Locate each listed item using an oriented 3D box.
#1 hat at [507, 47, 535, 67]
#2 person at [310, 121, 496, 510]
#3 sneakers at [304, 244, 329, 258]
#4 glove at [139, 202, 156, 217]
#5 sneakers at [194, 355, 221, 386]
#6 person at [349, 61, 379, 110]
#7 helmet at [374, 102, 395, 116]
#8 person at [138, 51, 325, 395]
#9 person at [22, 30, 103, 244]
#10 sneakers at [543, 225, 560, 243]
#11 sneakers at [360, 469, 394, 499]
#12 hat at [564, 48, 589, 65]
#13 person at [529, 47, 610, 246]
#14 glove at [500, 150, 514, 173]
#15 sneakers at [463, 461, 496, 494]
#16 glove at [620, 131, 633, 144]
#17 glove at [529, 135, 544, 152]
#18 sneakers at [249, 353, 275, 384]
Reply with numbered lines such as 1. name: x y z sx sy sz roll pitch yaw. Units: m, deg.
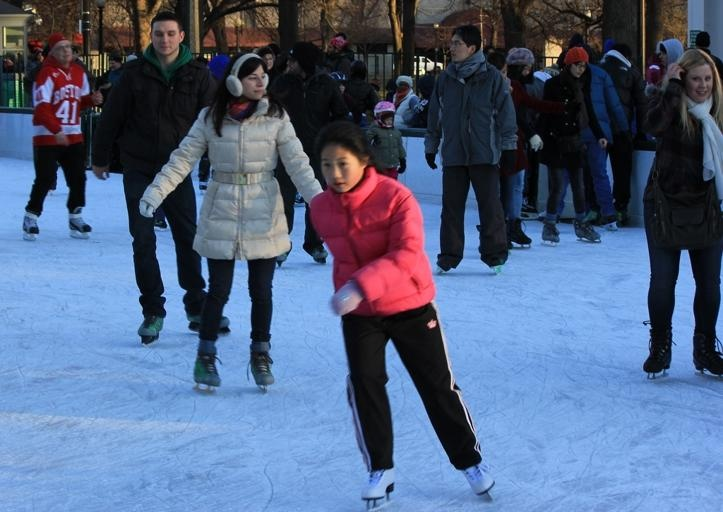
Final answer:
1. hat: 2.128 -2.678 9.751 0.470 0.278 0.319 4 18 12
2. person: 0.166 0.247 3.217 0.706 1.672 0.561 -3 12 -14
3. sneakers: -0.506 -0.052 7.981 0.217 0.092 0.125 1 -1 21
4. glove: -1.340 -0.284 4.453 0.080 0.107 0.046 4 -3 -19
5. sneakers: -0.961 0.703 4.420 0.152 0.171 0.126 -3 12 -12
6. person: -0.003 -2.760 11.717 0.437 0.822 0.689 4 13 21
7. helmet: 0.334 -2.139 10.426 0.209 0.223 0.266 -7 16 -31
8. person: -0.783 -0.225 4.451 1.000 2.002 0.549 -3 13 -14
9. person: -3.849 -1.512 9.106 1.068 2.578 0.786 -7 14 -27
10. sneakers: 2.392 -0.295 9.044 0.204 0.277 0.247 3 13 14
11. sneakers: 0.078 1.008 3.145 0.072 0.096 0.205 -3 -7 30
12. hat: 2.655 -2.483 8.861 0.291 0.223 0.315 1 12 6
13. person: 2.671 -1.394 9.050 0.789 2.421 0.727 0 12 2
14. glove: 1.506 -0.984 7.429 0.192 0.257 0.110 -3 0 -12
15. sneakers: 0.515 0.991 3.227 0.079 0.084 0.211 -35 20 2
16. glove: 3.624 -1.621 9.796 0.156 0.157 0.164 -3 24 1
17. glove: 2.090 -1.368 8.565 0.165 0.222 0.104 -3 -16 11
18. sneakers: -0.623 0.707 4.471 0.092 0.118 0.272 -4 11 -14
